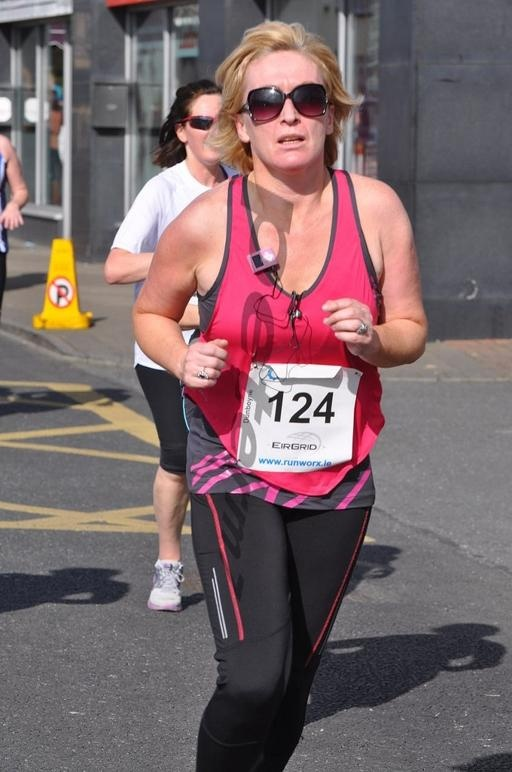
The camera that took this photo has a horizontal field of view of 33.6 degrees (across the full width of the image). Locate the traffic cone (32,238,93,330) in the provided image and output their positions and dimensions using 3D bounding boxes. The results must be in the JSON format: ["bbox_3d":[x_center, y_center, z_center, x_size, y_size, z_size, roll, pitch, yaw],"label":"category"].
[{"bbox_3d":[-2.365,-1.239,10.385,0.739,1.088,0.771,-1,6,-12],"label":"traffic cone"}]

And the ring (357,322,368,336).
[{"bbox_3d":[0.174,-0.090,1.373,0.017,0.021,0.008,-6,-35,-1],"label":"ring"}]

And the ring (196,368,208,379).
[{"bbox_3d":[-0.091,-0.019,1.376,0.013,0.016,0.006,-2,2,10],"label":"ring"}]
